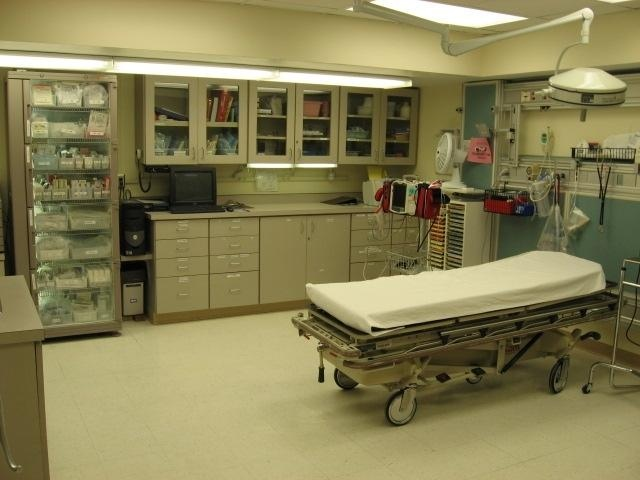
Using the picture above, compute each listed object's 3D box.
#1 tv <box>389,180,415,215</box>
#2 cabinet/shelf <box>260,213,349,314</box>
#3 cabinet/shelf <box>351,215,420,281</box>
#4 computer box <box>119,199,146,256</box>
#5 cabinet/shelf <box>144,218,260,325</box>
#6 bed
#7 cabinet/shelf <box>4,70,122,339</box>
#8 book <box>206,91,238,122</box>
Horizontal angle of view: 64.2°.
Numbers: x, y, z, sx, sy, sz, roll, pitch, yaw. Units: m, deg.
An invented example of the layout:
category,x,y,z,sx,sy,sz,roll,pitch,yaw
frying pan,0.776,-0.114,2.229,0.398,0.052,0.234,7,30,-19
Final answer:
category,x,y,z,sx,sy,sz,roll,pitch,yaw
tv,0.784,-0.405,4.835,0.204,0.302,0.332,-2,8,-29
cabinet/shelf,-0.241,0.240,5.590,1.321,0.964,0.468,-3,6,-23
cabinet/shelf,0.715,0.087,5.895,0.902,0.689,0.324,-3,6,-23
computer box,-1.986,-0.116,5.307,0.265,0.558,0.169,1,14,-2
cabinet/shelf,-1.348,0.315,5.524,1.301,1.022,0.472,-3,7,-24
bed,1.052,0.778,3.997,2.309,1.019,0.629,-4,15,-22
cabinet/shelf,-2.428,-0.286,4.911,1.013,2.540,0.544,-4,15,-19
book,-1.089,-1.475,5.616,0.337,0.346,0.076,-3,15,-18
